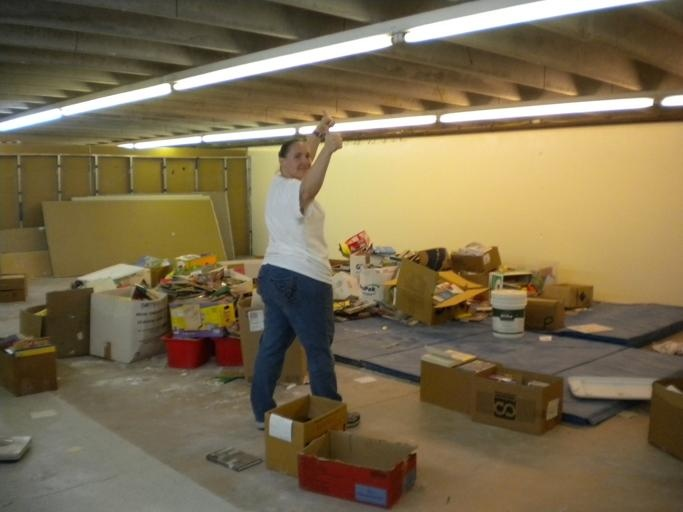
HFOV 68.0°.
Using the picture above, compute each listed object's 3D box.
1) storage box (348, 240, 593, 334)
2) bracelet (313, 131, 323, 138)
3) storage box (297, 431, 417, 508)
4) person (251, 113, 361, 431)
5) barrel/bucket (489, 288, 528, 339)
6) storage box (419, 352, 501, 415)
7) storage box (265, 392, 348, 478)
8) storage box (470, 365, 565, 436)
[{"bbox_3d":[1.812,0.344,6.935,2.448,0.813,1.319,-4,12,-19],"label":"storage box"},{"bbox_3d":[-0.186,-0.940,3.924,0.066,0.037,0.065,7,-13,21],"label":"bracelet"},{"bbox_3d":[0.086,1.203,3.014,0.561,0.203,0.392,2,7,26],"label":"storage box"},{"bbox_3d":[-0.274,0.157,3.514,0.777,2.261,0.858,-3,13,-13],"label":"person"},{"bbox_3d":[1.930,0.661,5.843,0.447,0.431,0.444,2,0,0],"label":"barrel/bucket"},{"bbox_3d":[0.969,0.953,4.165,0.405,0.494,0.708,-8,13,-44],"label":"storage box"},{"bbox_3d":[-0.234,1.178,3.363,0.421,0.357,0.536,1,2,40],"label":"storage box"},{"bbox_3d":[1.318,1.066,3.856,0.595,0.342,0.436,0,3,41],"label":"storage box"}]
